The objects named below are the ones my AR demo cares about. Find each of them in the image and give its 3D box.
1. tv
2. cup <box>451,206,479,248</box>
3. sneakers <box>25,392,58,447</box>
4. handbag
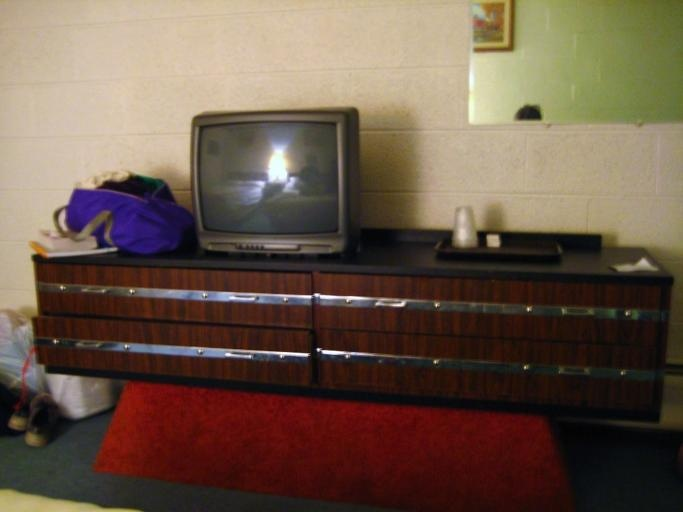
[{"bbox_3d":[-0.228,-0.271,2.482,0.863,0.754,0.508,1,7,10],"label":"tv"},{"bbox_3d":[0.502,-0.123,2.349,0.098,0.159,0.170,3,14,15],"label":"cup"},{"bbox_3d":[-1.314,0.723,2.544,0.098,0.098,0.228,2,42,-24],"label":"sneakers"},{"bbox_3d":[-0.892,-0.173,2.425,0.493,0.184,0.356,15,16,14],"label":"handbag"}]
